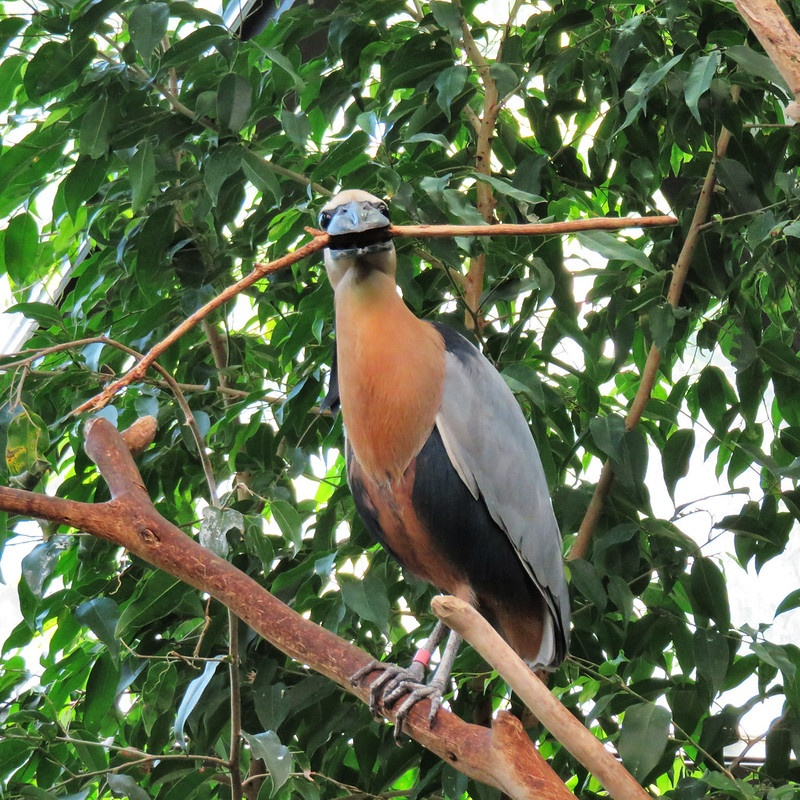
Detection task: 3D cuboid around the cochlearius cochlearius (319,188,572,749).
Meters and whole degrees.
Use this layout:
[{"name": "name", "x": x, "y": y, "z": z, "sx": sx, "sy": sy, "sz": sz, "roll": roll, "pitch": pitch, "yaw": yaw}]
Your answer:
[{"name": "cochlearius cochlearius", "x": 0.051, "y": 0.060, "z": 1.896, "sx": 0.264, "sy": 0.456, "sz": 0.736, "roll": -16, "pitch": -51, "yaw": 19}]
